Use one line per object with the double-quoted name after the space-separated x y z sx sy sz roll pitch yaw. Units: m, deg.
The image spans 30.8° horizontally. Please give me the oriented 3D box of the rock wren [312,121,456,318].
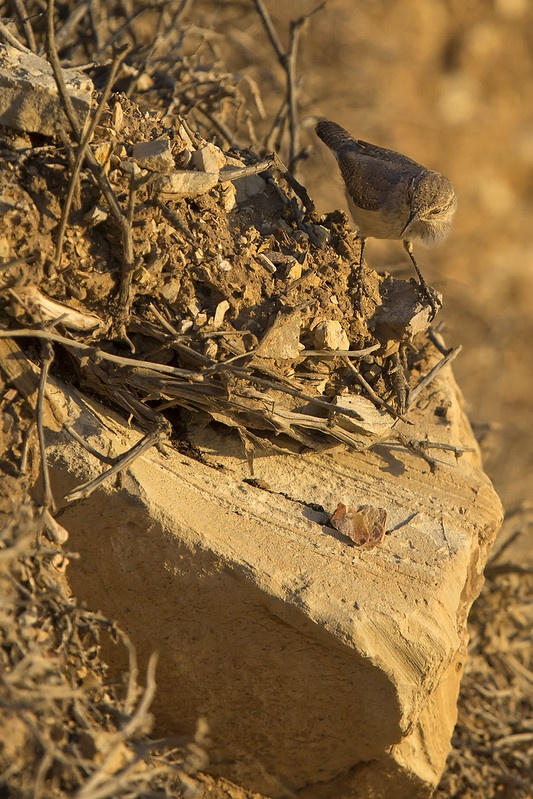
0.384 -0.600 2.773 0.295 0.383 0.644 -8 12 -5 "rock wren"
